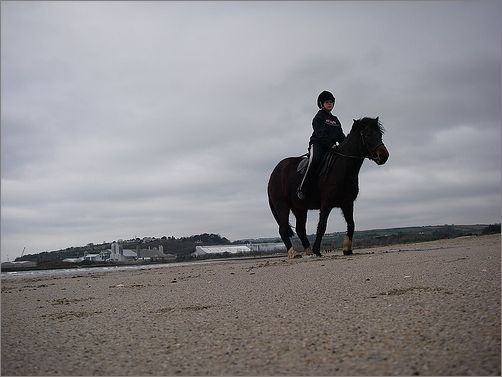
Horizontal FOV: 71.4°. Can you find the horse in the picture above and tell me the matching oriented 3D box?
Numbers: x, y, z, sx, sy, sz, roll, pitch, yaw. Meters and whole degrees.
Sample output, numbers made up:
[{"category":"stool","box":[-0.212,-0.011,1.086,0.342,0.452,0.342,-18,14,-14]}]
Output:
[{"category":"horse","box":[2.354,0.208,11.034,1.414,3.999,4.391,1,-8,-27]}]
